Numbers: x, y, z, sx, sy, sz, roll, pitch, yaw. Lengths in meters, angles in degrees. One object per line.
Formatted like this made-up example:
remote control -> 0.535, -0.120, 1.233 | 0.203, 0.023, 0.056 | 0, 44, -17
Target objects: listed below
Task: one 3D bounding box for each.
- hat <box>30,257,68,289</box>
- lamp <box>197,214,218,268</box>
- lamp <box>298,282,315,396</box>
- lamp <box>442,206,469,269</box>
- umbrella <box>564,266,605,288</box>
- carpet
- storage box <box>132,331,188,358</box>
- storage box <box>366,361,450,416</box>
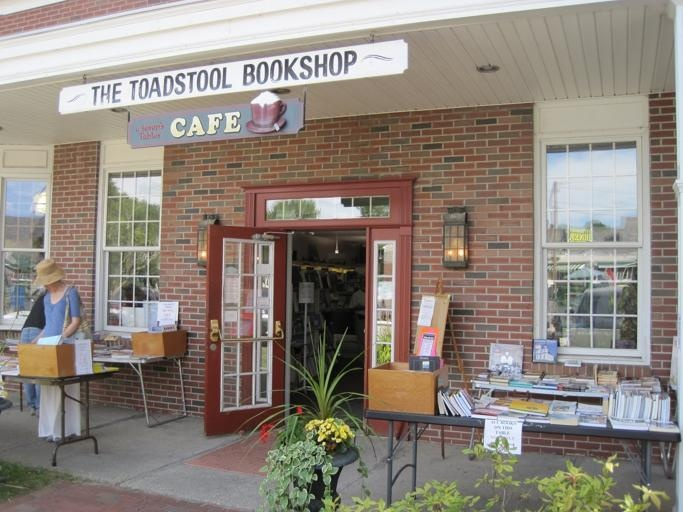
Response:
hat -> -3.441, 0.189, 6.875 | 0.495, 0.258, 0.508 | -2, 19, -4
lamp -> -1.861, -0.218, 8.034 | 0.324, 0.748, 0.282 | 0, 3, -1
lamp -> -0.577, 1.171, 9.539 | 0.302, 1.572, 0.310 | 10, -32, -17
lamp -> 1.363, -0.225, 6.928 | 0.297, 0.729, 0.133 | 0, 3, 1
umbrella -> 2.853, 0.233, 6.742 | 0.298, 0.119, 0.294 | -12, 15, -36
carpet -> -1.234, 2.220, 6.450 | 0.836, 0.077, 1.086 | 0, 3, 1
storage box -> -2.504, 1.120, 7.917 | 0.498, 0.282, 0.483 | 0, -3, 21
storage box -> 0.584, 1.081, 5.025 | 0.491, 0.263, 0.455 | 0, 0, 19
